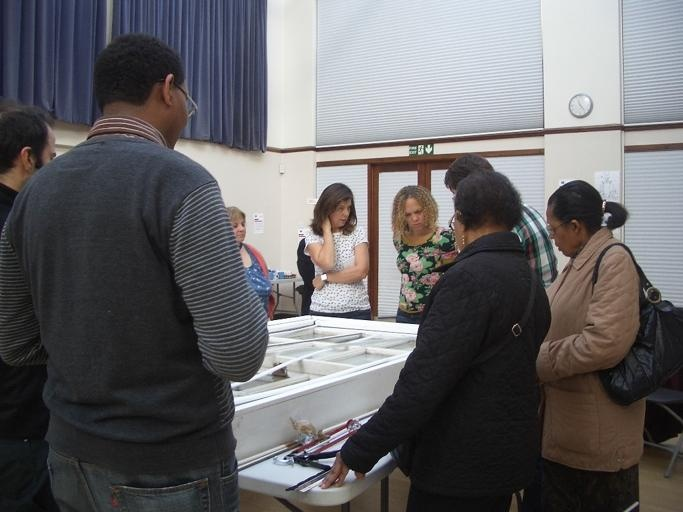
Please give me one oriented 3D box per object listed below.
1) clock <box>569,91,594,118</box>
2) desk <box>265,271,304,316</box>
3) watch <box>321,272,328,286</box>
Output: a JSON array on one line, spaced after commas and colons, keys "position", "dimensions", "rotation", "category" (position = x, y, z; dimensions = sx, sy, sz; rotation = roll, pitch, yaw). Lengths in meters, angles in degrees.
[{"position": [2.478, -1.573, 6.186], "dimensions": [0.280, 0.310, 0.043], "rotation": [2, 3, 25], "category": "clock"}, {"position": [-0.846, 0.445, 7.765], "dimensions": [0.404, 0.436, 0.704], "rotation": [-8, 14, -32], "category": "desk"}, {"position": [-0.107, 0.145, 3.754], "dimensions": [0.048, 0.062, 0.063], "rotation": [1, 6, 1], "category": "watch"}]
